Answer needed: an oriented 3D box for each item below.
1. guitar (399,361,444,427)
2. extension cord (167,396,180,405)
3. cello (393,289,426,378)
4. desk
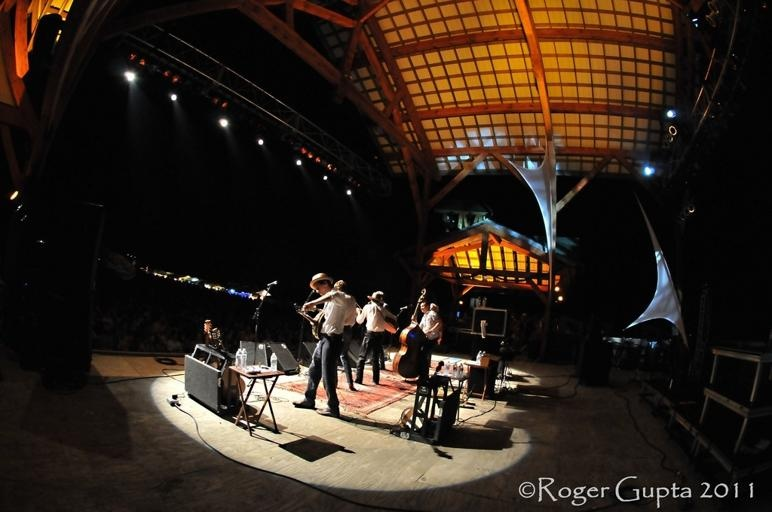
[{"bbox_3d":[0.671,2.658,9.072,0.756,1.158,0.960,6,9,-7],"label":"guitar"},{"bbox_3d":[-3.722,2.562,8.797,0.204,0.152,0.070,4,-23,12],"label":"extension cord"},{"bbox_3d":[0.632,1.799,11.614,0.738,2.003,0.290,8,3,-36],"label":"cello"},{"bbox_3d":[-2.261,2.435,8.718,0.963,1.138,0.898,8,-2,-34],"label":"desk"}]
